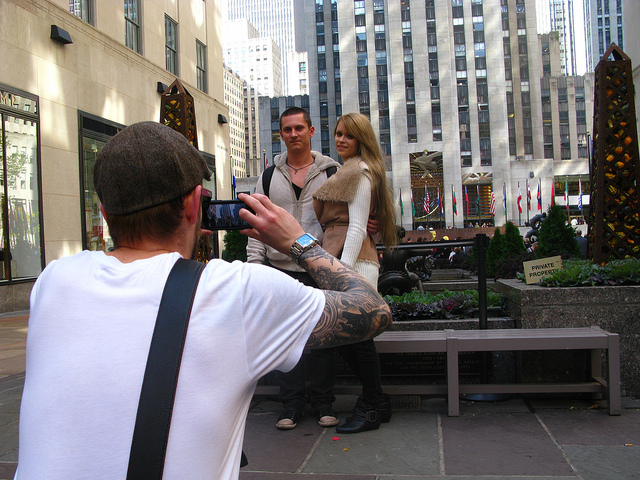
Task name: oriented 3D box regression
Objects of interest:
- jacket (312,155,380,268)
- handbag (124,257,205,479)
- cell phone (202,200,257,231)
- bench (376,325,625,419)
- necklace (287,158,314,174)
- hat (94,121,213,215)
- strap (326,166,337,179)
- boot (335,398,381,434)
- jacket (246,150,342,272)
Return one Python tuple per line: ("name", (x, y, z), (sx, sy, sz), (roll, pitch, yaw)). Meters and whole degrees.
("jacket", (0.099, -0.240, 4.741), (0.625, 1.077, 0.835), (3, -11, -2))
("handbag", (-0.496, 0.426, 1.864), (0.118, 0.632, 0.278), (1, 5, 36))
("cell phone", (-0.396, -0.104, 2.459), (0.199, 0.130, 0.022), (-2, 13, -4))
("bench", (1.550, 1.086, 5.027), (2.041, 0.666, 0.817), (-3, 4, 2))
("necklace", (-0.170, -0.637, 5.017), (0.189, 0.078, 0.019), (-5, 23, 12))
("hat", (-0.630, -0.279, 2.203), (0.371, 0.304, 0.521), (-9, 7, 11))
("strap", (0.092, -0.584, 4.926), (0.104, 0.116, 0.201), (2, -6, -2))
("boot", (0.331, 1.368, 4.544), (0.400, 0.304, 0.174), (1, -8, -16))
("jacket", (-0.212, -0.266, 5.045), (0.758, 1.050, 0.449), (4, 9, -5))
